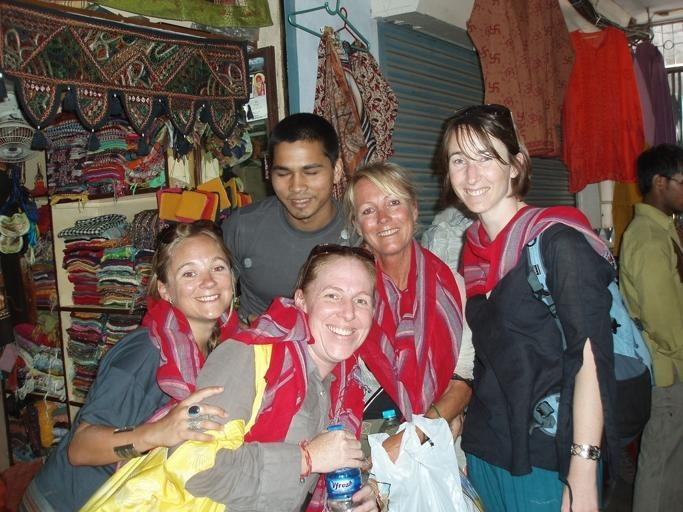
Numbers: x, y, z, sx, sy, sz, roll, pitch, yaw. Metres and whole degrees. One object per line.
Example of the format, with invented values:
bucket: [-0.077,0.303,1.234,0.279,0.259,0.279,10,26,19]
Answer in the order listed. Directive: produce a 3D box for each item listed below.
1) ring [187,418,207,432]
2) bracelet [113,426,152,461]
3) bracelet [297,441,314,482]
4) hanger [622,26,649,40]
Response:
ring: [-0.548,0.635,1.976,0.055,0.021,0.044,-3,1,-8]
bracelet: [-0.876,0.798,2.202,0.113,0.163,0.115,-8,-8,-11]
bracelet: [-0.142,0.826,2.133,0.029,0.118,0.084,-6,-4,-3]
hanger: [3.454,-2.614,6.154,0.253,0.142,0.147,-8,-5,33]
